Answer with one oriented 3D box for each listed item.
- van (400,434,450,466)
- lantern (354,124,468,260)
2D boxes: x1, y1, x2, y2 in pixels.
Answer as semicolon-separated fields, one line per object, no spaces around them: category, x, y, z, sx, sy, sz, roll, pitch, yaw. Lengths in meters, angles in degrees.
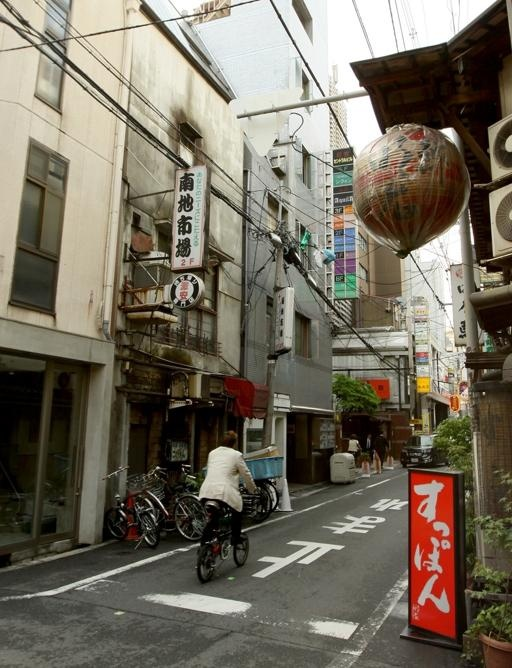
van;7.713;5.384;25.051;1.791;1.487;2.317;-3;-11;15
lantern;1.063;-1.050;3.710;0.736;0.730;0.466;-4;-11;21
